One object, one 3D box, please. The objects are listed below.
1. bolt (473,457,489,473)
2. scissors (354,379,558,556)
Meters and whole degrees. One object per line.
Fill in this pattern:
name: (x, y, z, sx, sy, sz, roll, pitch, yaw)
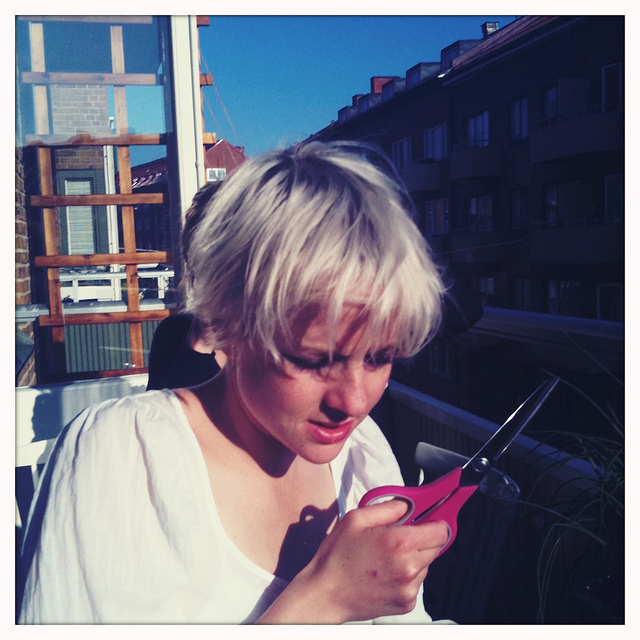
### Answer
bolt: (0.524, 0.470, 2.403, 0.041, 0.030, 0.048, 1, 36, -9)
scissors: (0.467, 0.516, 2.457, 0.876, 0.321, 0.059, -51, -9, 6)
